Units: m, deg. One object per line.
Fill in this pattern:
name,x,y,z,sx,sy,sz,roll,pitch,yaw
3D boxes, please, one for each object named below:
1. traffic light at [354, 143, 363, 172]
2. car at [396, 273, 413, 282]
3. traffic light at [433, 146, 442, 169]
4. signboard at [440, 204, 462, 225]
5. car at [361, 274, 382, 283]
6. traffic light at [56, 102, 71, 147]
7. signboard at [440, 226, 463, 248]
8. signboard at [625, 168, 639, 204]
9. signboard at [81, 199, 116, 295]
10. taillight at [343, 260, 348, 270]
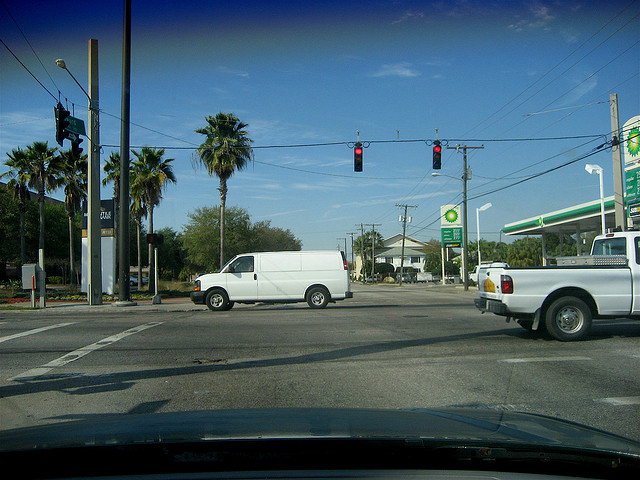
traffic light,1.385,-3.033,25.864,0.218,0.987,0.417,-1,2,-6
car,10.427,4.832,86.655,1.258,0.946,2.761,0,4,-11
traffic light,4.303,-3.046,26.139,0.235,0.821,0.270,-1,2,1
signboard,10.733,-1.993,58.158,1.514,1.459,0.587,0,2,27
car,7.482,5.524,101.796,1.940,0.953,1.165,3,-4,7
traffic light,-7.202,-3.241,19.852,0.332,1.263,1.715,-2,2,-19
signboard,10.547,-0.304,56.839,2.114,2.135,1.156,0,-4,1
signboard,13.506,-2.328,30.684,0.294,1.513,1.410,0,2,10
signboard,-10.280,0.361,32.898,1.469,4.687,0.309,-2,21,-20
taillight,0.824,0.831,23.380,0.121,0.283,0.203,-2,2,-33
